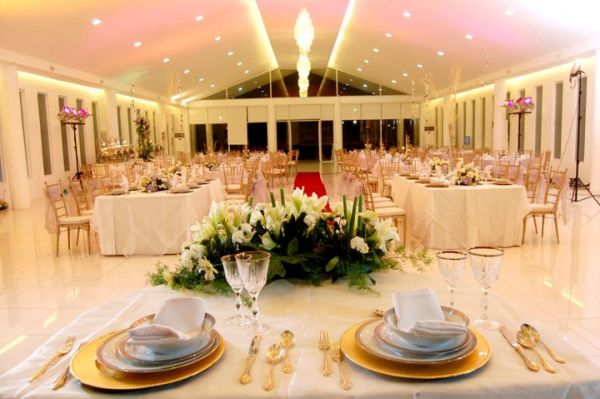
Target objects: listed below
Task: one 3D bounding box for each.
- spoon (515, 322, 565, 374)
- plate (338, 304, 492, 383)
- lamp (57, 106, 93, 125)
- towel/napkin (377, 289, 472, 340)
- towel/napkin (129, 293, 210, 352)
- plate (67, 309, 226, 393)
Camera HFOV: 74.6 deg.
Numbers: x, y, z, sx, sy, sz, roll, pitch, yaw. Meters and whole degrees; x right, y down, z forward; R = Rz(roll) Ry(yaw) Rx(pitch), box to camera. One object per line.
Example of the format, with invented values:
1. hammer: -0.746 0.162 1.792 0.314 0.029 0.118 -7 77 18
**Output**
1. spoon: 0.841 0.520 1.391 0.058 0.024 0.135 -4 23 -4
2. plate: 0.397 0.523 1.358 0.514 0.086 0.221 -2 11 6
3. lamp: -7.040 -2.564 12.153 0.792 0.587 0.817 10 11 36
4. towel/napkin: 0.427 0.402 1.365 0.261 0.121 0.269 -7 5 -1
5. towel/napkin: -0.462 0.456 1.364 0.262 0.130 0.299 -3 3 -21
6. plate: -0.523 0.541 1.362 0.515 0.095 0.273 -5 11 -9
